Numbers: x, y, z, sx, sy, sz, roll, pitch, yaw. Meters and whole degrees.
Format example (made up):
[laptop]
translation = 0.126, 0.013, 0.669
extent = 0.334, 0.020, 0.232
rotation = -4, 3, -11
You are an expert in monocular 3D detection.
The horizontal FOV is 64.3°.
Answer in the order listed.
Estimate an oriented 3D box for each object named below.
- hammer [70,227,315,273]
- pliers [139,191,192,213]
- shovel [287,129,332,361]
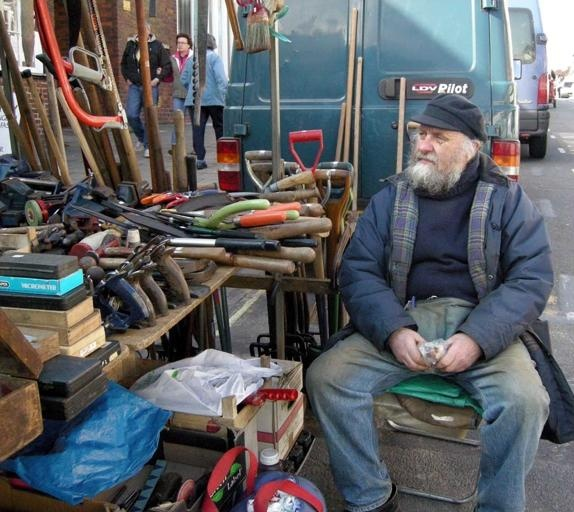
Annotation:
[hammer]
translation = -0.382, -0.026, 1.752
extent = 0.612, 0.064, 0.104
rotation = 7, 39, 8
[pliers]
translation = -0.614, -0.287, 2.331
extent = 0.118, 0.057, 0.201
rotation = 18, 19, 35
[shovel]
translation = 0.109, -0.056, 2.887
extent = 0.400, 1.379, 0.428
rotation = 10, 22, 13
